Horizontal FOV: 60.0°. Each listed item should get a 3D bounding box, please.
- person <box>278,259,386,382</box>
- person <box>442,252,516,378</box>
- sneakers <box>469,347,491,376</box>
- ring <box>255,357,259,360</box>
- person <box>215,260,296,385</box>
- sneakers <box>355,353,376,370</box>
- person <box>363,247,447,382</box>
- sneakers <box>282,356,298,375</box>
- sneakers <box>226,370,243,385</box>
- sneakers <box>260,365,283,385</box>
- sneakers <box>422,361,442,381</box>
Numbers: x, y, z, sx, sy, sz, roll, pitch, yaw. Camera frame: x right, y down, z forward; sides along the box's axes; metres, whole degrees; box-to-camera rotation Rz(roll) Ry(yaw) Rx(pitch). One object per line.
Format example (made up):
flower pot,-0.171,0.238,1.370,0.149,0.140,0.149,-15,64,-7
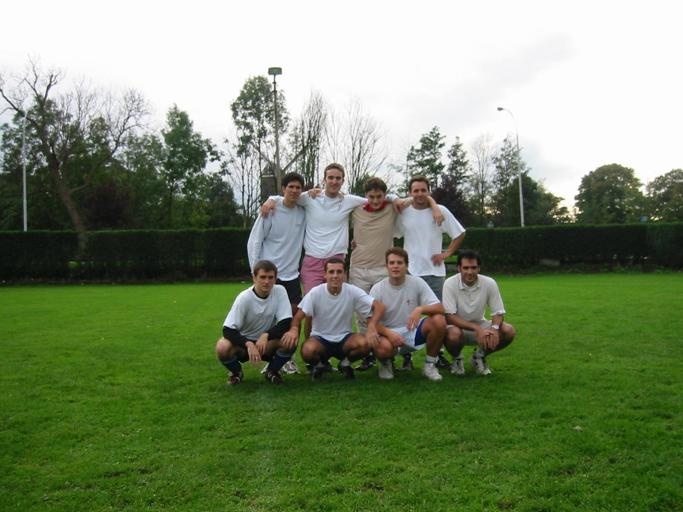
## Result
person,-0.140,0.849,7.660,1.384,1.521,0.820,-2,4,-8
person,1.757,0.733,7.719,0.897,1.596,0.587,0,1,4
sneakers,1.802,1.388,7.702,0.147,0.431,0.214,-9,-38,-13
ring,-1.004,1.225,7.080,0.042,0.044,0.024,1,11,8
person,-1.057,0.818,7.391,0.952,1.533,0.630,-1,1,-9
sneakers,0.331,1.479,8.199,0.145,0.197,0.460,-6,-9,22
person,0.799,0.762,7.540,1.119,1.602,1.101,-2,5,36
sneakers,-0.687,1.463,8.019,0.169,0.247,0.337,1,4,2
sneakers,-1.329,1.514,7.427,0.193,0.148,0.213,-1,1,-12
sneakers,-0.877,1.505,7.567,0.132,0.190,0.396,-5,10,-33
sneakers,1.168,1.451,7.501,0.194,0.202,0.264,-1,1,-15
